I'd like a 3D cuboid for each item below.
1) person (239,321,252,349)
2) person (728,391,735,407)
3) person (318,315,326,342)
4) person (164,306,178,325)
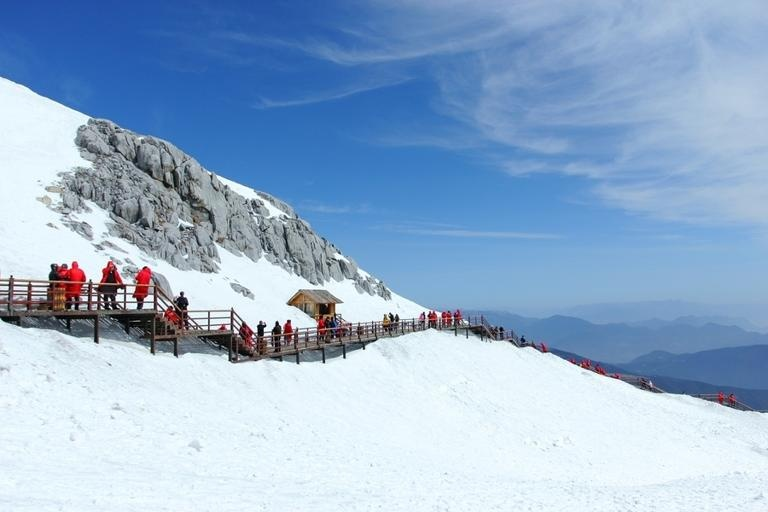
[{"bbox_3d":[-10.327,5.836,48.716,0.526,1.902,1.128,-4,0,15],"label":"person"},{"bbox_3d":[35.531,14.723,67.740,0.602,1.157,2.342,9,5,26],"label":"person"},{"bbox_3d":[-5.183,6.150,54.608,0.708,1.387,1.949,6,4,-5],"label":"person"},{"bbox_3d":[-14.646,4.088,45.519,0.497,1.247,0.986,-22,4,21],"label":"person"}]
